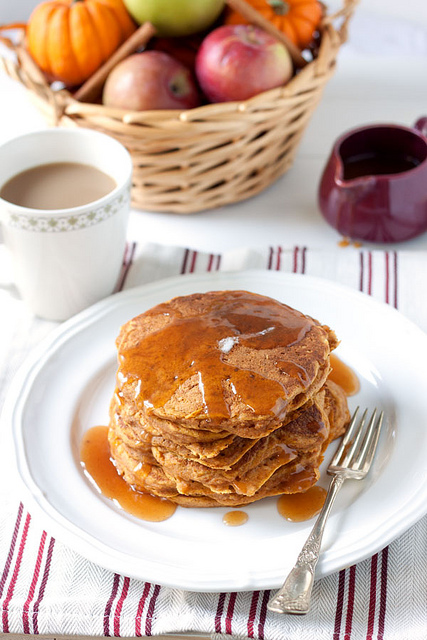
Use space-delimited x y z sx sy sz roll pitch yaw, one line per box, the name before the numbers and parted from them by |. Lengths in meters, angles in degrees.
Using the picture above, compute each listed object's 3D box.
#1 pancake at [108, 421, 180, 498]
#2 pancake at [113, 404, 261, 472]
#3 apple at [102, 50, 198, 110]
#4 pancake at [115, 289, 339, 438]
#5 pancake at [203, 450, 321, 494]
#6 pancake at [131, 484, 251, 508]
pancake | -0.152 0.306 1.216 0.131 0.098 0.150 -12 27 -27
pancake | -0.044 0.232 1.261 0.257 0.061 0.290 3 8 31
apple | -0.189 -0.702 1.727 0.291 0.155 0.238 -14 56 -7
pancake | 0.021 0.078 1.226 0.463 0.098 0.486 -20 37 -14
pancake | 0.090 0.308 1.163 0.146 0.065 0.195 -6 19 -10
pancake | -0.036 0.368 1.195 0.092 0.012 0.069 6 9 23
